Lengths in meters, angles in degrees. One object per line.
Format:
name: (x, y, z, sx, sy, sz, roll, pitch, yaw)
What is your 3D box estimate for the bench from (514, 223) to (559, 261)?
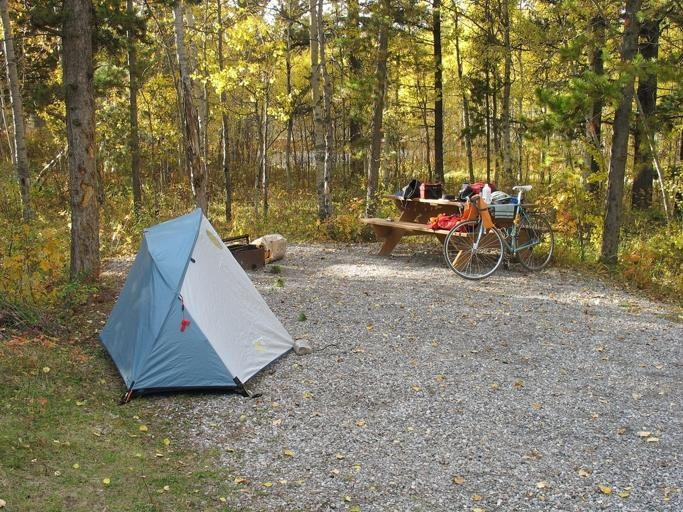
bench: (4.115, -0.343, 16.533, 0.272, 1.288, 1.867, -2, -2, -11)

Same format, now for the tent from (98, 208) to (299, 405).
tent: (-2.406, 0.702, 12.581, 2.560, 2.826, 1.265, 0, 6, -6)
